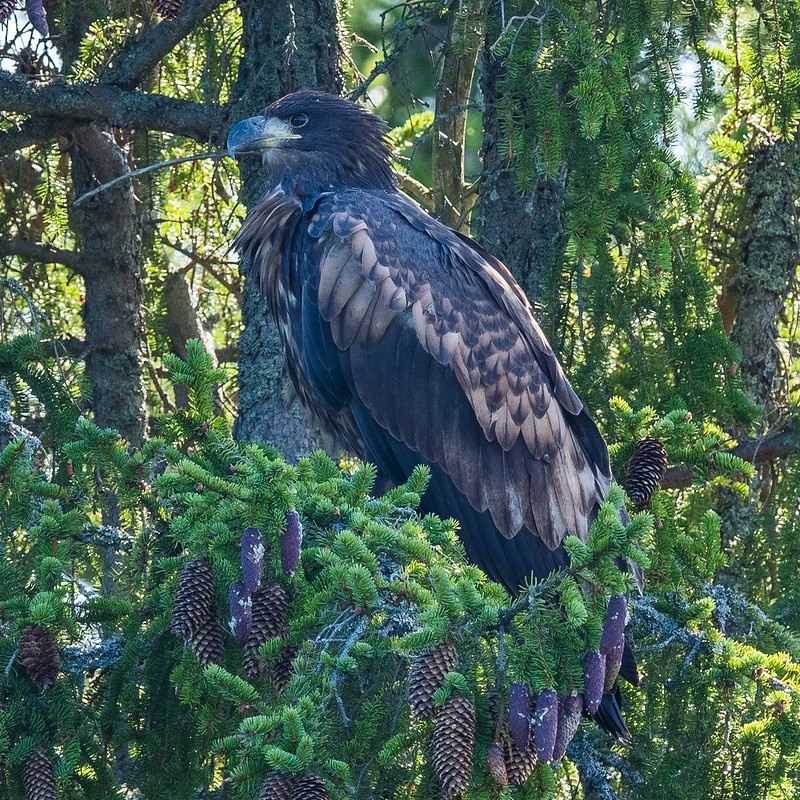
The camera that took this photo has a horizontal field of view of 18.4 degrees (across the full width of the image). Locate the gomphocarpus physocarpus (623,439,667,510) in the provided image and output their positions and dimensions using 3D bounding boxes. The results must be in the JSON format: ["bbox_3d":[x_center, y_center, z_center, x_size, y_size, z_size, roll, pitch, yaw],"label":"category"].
[{"bbox_3d":[1.073,0.296,10.765,0.133,0.352,0.171,30,-33,-25],"label":"gomphocarpus physocarpus"}]
